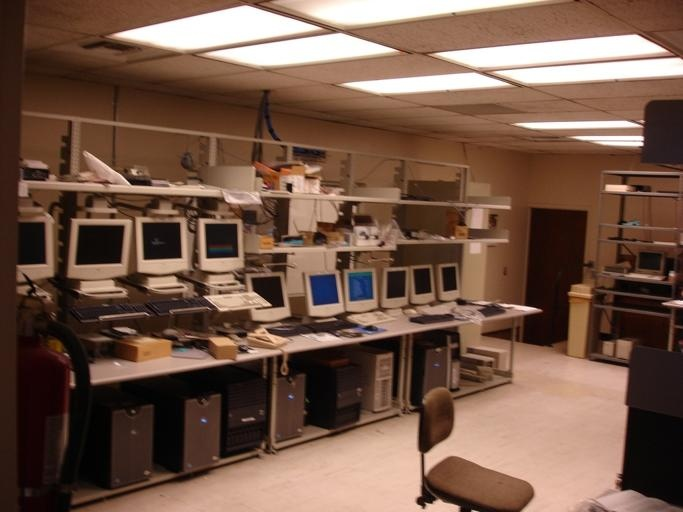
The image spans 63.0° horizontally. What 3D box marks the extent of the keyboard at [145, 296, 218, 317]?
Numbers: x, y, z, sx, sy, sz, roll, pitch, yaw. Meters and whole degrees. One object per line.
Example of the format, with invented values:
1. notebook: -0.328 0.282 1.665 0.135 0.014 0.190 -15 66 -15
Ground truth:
1. keyboard: -1.120 0.333 3.809 0.202 0.030 0.266 23 18 38

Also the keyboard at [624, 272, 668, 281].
1. keyboard: 3.706 0.261 6.776 0.435 0.076 0.275 2 4 34

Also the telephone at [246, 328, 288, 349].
1. telephone: -0.522 0.597 3.995 0.196 0.054 0.166 2 7 -18

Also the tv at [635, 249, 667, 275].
1. tv: 3.821 0.089 6.868 0.348 0.241 0.190 8 -5 43

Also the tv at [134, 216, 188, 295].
1. tv: -1.210 -0.005 3.790 0.354 0.513 0.184 -2 6 -24

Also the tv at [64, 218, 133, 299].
1. tv: -1.534 0.018 3.522 0.388 0.498 0.189 -4 7 -44

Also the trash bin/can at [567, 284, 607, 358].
1. trash bin/can: 3.109 0.857 7.226 0.310 0.928 0.230 2 6 19
